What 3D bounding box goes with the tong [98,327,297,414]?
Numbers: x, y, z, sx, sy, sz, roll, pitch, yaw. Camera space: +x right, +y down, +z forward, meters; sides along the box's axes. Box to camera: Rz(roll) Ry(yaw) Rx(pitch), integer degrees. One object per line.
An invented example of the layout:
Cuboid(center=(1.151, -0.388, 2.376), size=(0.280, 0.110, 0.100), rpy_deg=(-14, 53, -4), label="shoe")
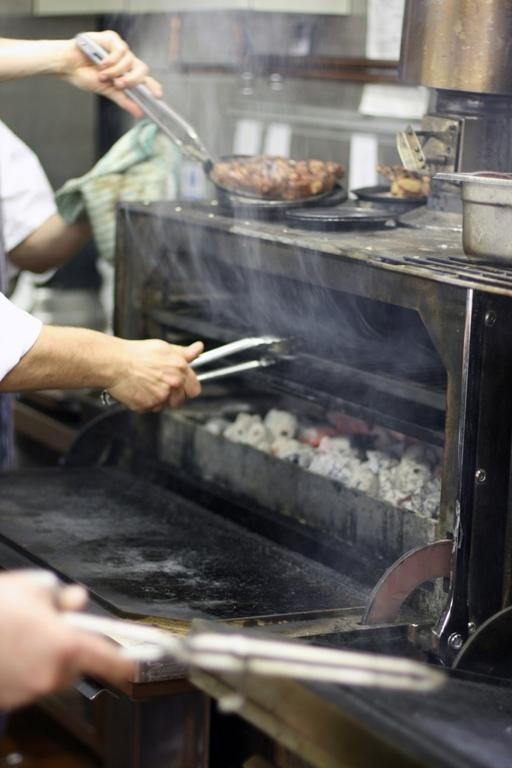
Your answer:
Cuboid(center=(-0.012, -0.094, 1.822), size=(0.165, 0.103, 0.840), rpy_deg=(7, 14, 37), label="tong")
